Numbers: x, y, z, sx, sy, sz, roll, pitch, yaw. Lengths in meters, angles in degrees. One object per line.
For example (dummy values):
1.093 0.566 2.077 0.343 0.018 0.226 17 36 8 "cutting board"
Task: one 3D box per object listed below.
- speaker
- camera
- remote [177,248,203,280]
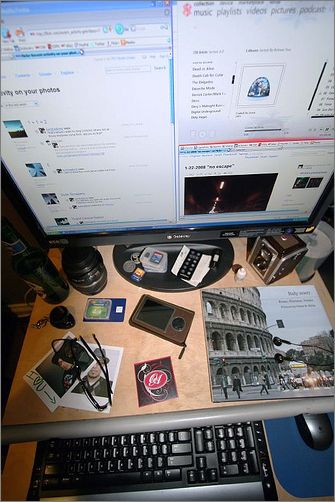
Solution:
0.253 0.007 0.730 0.098 0.112 0.106 1 50 -5 "speaker"
-0.006 0.147 0.676 0.130 0.030 0.078 19 62 15 "camera"
0.060 0.014 0.750 0.047 0.127 0.013 -20 55 -34 "remote"
